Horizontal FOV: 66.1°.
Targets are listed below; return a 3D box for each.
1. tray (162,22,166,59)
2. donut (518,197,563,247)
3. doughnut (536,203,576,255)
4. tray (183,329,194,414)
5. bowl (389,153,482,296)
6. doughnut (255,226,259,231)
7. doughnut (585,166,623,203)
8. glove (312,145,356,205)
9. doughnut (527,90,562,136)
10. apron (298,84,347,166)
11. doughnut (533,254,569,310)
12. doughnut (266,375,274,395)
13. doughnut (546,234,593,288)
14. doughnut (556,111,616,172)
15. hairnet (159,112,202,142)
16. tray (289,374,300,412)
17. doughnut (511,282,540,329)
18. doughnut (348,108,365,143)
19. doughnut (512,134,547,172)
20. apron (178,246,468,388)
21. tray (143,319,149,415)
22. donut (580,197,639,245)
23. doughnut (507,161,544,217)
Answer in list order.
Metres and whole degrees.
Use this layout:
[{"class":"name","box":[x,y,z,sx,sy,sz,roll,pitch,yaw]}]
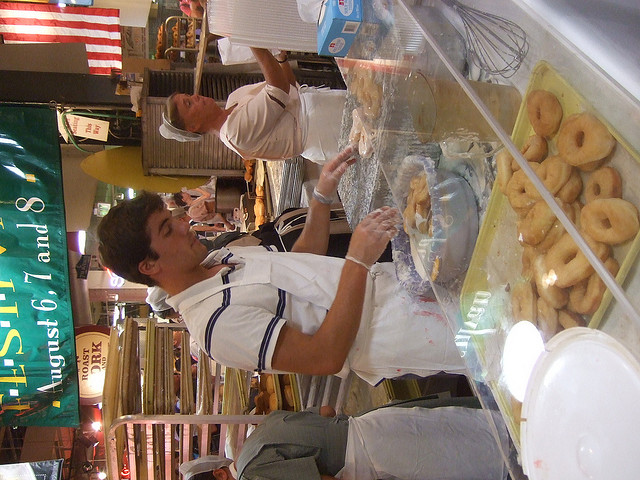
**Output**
[{"class":"tray","box":[-1.934,-2.505,6.150,0.050,0.378,0.228,-5,49,-18]},{"class":"donut","box":[0.412,-0.029,0.940,0.029,0.086,0.063,11,27,-25]},{"class":"doughnut","box":[0.441,-0.051,0.913,0.063,0.018,0.068,26,73,41]},{"class":"tray","box":[-0.697,0.705,2.599,0.068,0.432,0.040,-6,7,-36]},{"class":"bowl","box":[0.295,-0.048,1.292,0.113,0.320,0.354,0,64,-12]},{"class":"doughnut","box":[-0.571,-0.110,4.519,0.016,0.059,0.061,9,77,-33]},{"class":"doughnut","box":[0.501,-0.093,0.870,0.037,0.062,0.060,11,46,-3]},{"class":"glove","box":[0.069,-0.306,2.266,0.142,0.303,0.168,-10,70,-16]},{"class":"doughnut","box":[0.450,-0.255,0.992,0.029,0.081,0.082,-30,33,-20]},{"class":"apron","box":[0.009,-0.668,2.833,0.216,0.433,0.273,0,17,-5]},{"class":"doughnut","box":[0.418,0.079,0.911,0.064,0.083,0.038,-5,9,-32]},{"class":"doughnut","box":[-0.268,0.800,2.697,0.017,0.076,0.079,2,79,-17]},{"class":"doughnut","box":[0.432,0.044,0.873,0.024,0.078,0.076,4,38,-38]},{"class":"doughnut","box":[0.480,-0.184,0.906,0.037,0.081,0.117,-8,51,-20]},{"class":"hairnet","box":[-0.852,-0.677,3.028,0.198,0.104,0.156,7,-3,-12]},{"class":"tray","box":[-0.127,0.797,2.570,0.032,0.123,0.135,-7,60,8]},{"class":"doughnut","box":[0.395,0.122,0.954,0.015,0.065,0.066,2,25,-15]},{"class":"doughnut","box":[0.149,-0.463,1.985,0.024,0.116,0.111,6,13,-4]},{"class":"doughnut","box":[0.424,-0.171,0.997,0.022,0.062,0.066,20,79,-16]},{"class":"apron","box":[0.119,0.077,2.009,0.883,0.541,1.022,7,17,24]},{"class":"tray","box":[-0.869,0.626,2.478,0.019,0.145,0.544,-2,51,-15]},{"class":"donut","box":[0.493,-0.033,0.841,0.082,0.071,0.053,33,48,15]},{"class":"doughnut","box":[0.401,-0.099,0.976,0.026,0.090,0.088,7,7,-17]}]
